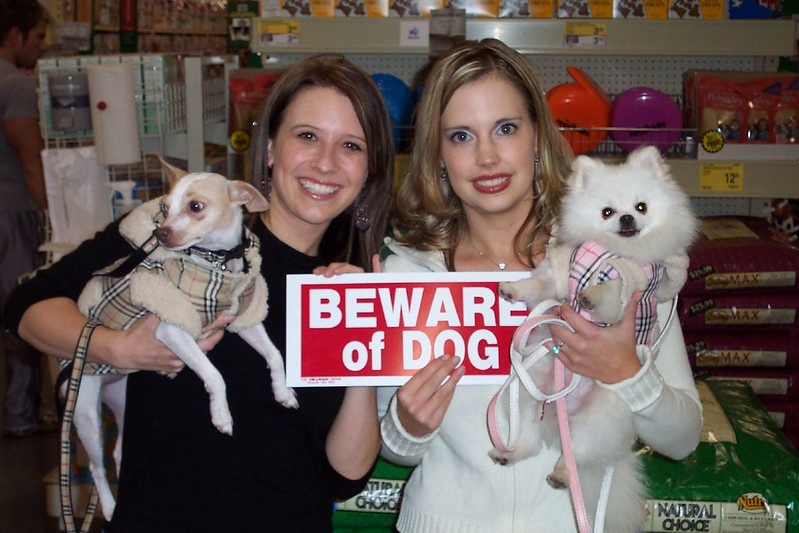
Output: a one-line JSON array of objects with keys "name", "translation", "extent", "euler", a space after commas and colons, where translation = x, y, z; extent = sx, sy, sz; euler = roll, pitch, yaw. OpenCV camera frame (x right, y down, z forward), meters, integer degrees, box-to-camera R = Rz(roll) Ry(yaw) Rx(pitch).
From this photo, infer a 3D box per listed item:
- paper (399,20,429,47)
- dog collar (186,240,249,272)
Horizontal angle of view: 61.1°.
[{"name": "paper", "translation": [0.083, -1.487, 4.330], "extent": [0.166, 0.176, 0.042], "euler": [2, 6, 2]}, {"name": "dog collar", "translation": [-0.761, -0.063, 2.830], "extent": [0.158, 0.099, 0.125], "euler": [8, 14, -4]}]
